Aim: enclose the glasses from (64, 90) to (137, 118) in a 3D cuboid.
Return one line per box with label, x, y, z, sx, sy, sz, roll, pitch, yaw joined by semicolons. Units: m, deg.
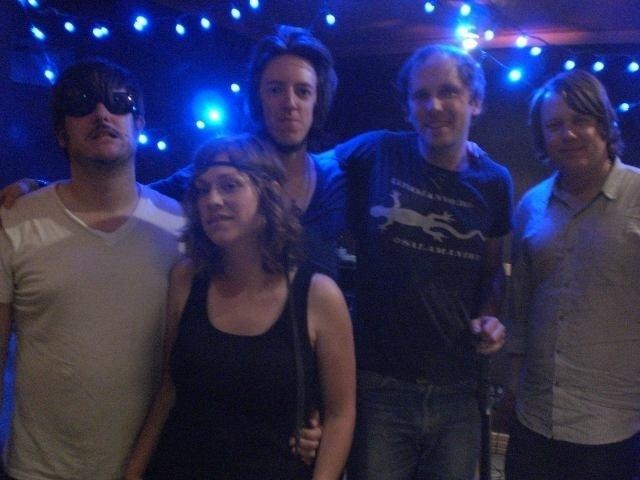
glasses;-1.139;-0.706;3.294;0.204;0.066;0.202;-2;-18;-16
